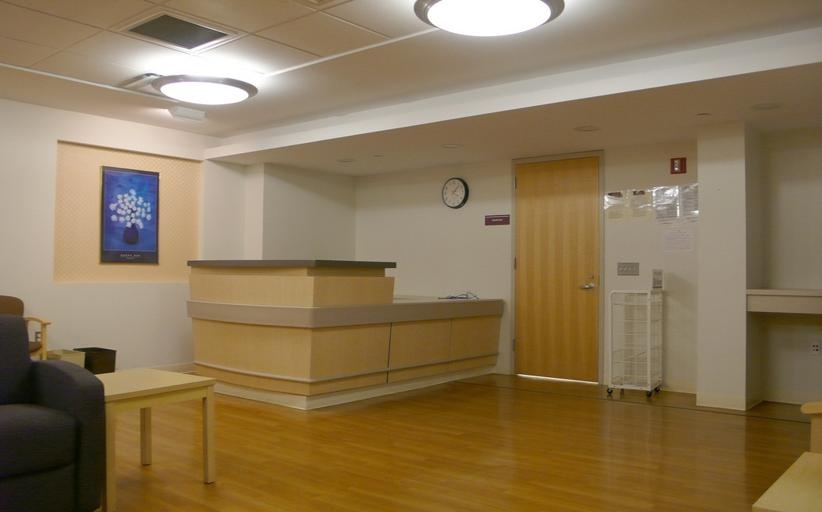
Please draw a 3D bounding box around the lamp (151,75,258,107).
[{"bbox_3d":[-2.381,-1.922,6.287,1.169,0.186,0.624,0,3,-7],"label":"lamp"}]

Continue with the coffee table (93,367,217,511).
[{"bbox_3d":[-2.017,1.306,4.405,1.003,0.869,1.003,-1,-2,41],"label":"coffee table"}]

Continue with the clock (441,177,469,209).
[{"bbox_3d":[0.702,-0.990,8.660,0.463,0.497,0.109,3,4,38],"label":"clock"}]

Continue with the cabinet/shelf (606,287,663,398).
[{"bbox_3d":[2.911,1.105,7.080,0.727,1.346,0.655,2,4,23],"label":"cabinet/shelf"}]
